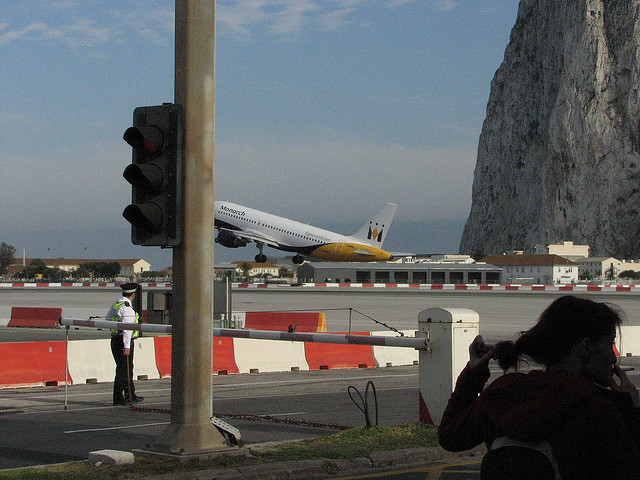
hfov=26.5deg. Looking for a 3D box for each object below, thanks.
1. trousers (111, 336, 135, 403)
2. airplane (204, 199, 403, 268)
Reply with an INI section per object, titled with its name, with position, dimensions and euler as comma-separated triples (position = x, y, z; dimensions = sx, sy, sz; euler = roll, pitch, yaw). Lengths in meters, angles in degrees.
[trousers]
position = -12.965, 8.473, 88.639
dimensions = 1.514, 4.182, 0.859
euler = -4, 9, -6
[airplane]
position = -1.996, -0.385, 141.671
dimensions = 10.701, 3.210, 10.227
euler = 12, -1, 12
